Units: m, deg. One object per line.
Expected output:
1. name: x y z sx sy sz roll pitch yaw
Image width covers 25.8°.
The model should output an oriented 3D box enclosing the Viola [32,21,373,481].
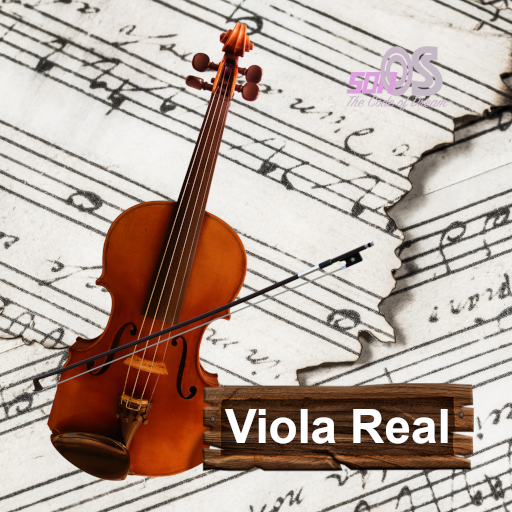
1. Viola: -0.380 -0.026 5.186 0.766 2.104 0.673 15 -27 -6
